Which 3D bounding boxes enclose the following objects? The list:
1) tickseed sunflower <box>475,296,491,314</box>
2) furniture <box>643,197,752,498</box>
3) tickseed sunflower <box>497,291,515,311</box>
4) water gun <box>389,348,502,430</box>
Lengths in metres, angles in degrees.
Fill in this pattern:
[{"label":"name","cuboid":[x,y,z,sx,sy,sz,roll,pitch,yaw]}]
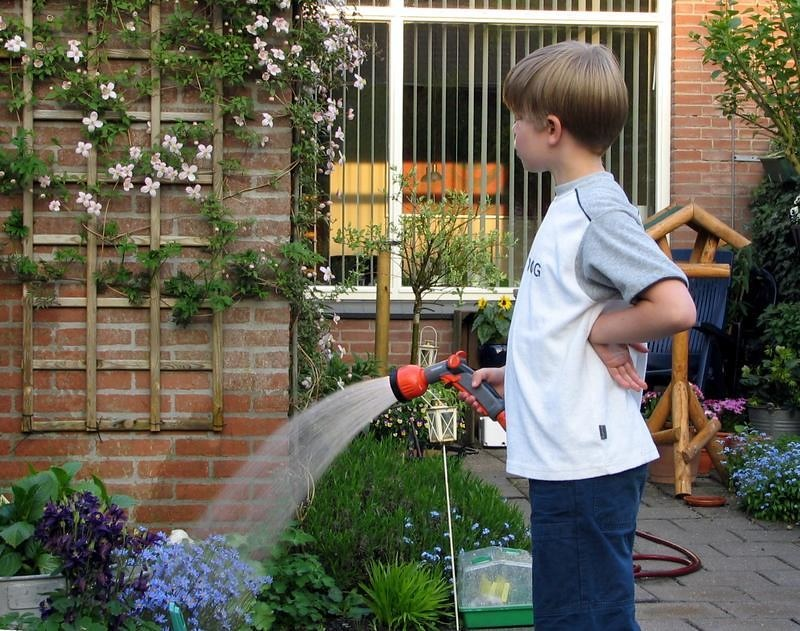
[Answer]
[{"label":"tickseed sunflower","cuboid":[0.612,-0.098,7.655,0.088,0.130,0.119,16,-18,-17]},{"label":"furniture","cuboid":[1.775,0.232,6.538,0.895,1.747,0.898,0,-1,2]},{"label":"tickseed sunflower","cuboid":[0.763,-0.083,7.627,0.135,0.144,0.052,19,20,-12]},{"label":"water gun","cuboid":[0.230,0.396,5.293,0.597,0.663,0.270,1,-2,-3]}]
